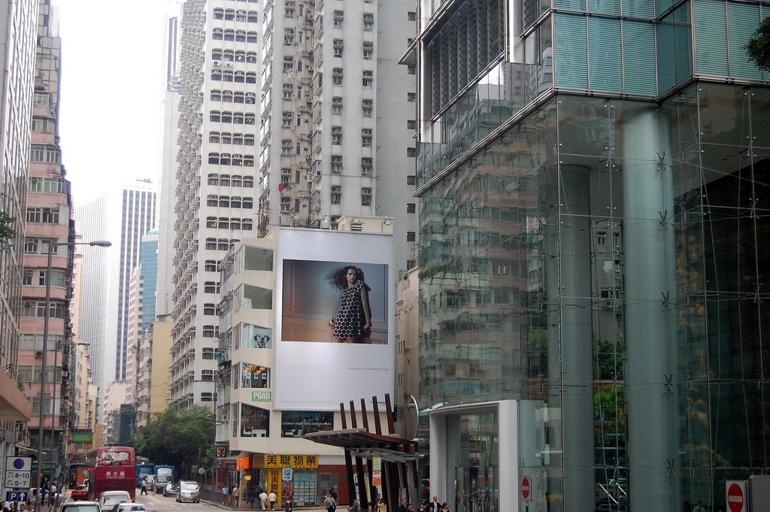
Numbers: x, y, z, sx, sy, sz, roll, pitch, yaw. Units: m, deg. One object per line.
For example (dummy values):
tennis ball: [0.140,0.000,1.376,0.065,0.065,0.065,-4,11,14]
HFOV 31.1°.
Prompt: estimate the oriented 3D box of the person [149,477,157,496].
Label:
person: [-26.516,26.114,157.342,1.074,1.655,3.040,2,-15,-14]
